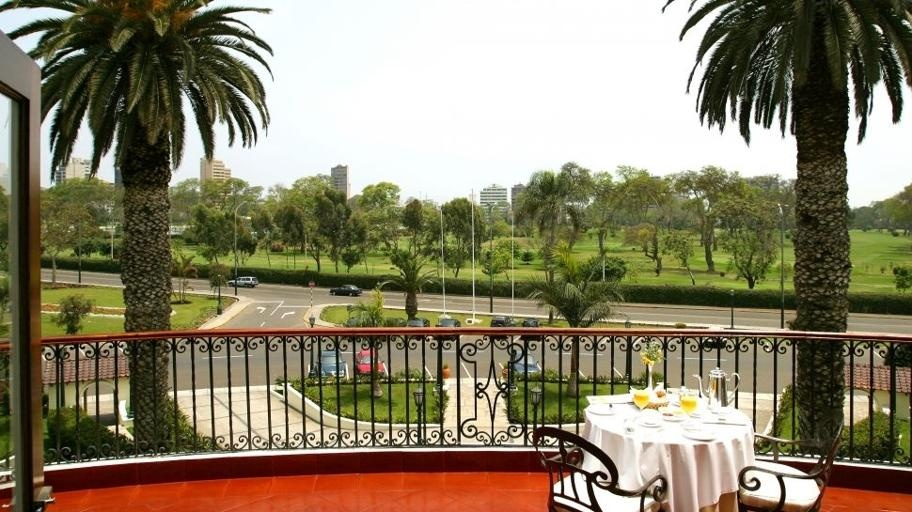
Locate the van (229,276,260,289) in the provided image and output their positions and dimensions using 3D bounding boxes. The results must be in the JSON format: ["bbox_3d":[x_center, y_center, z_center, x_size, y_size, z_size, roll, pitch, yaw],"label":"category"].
[{"bbox_3d":[-20.643,2.550,72.087,2.796,1.019,2.612,-3,3,-32],"label":"van"}]

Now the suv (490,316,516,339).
[{"bbox_3d":[3.301,5.176,51.637,1.928,1.933,3.473,-3,-9,12],"label":"suv"}]

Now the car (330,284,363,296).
[{"bbox_3d":[-10.292,3.242,68.125,2.613,0.896,1.243,5,2,19],"label":"car"}]
